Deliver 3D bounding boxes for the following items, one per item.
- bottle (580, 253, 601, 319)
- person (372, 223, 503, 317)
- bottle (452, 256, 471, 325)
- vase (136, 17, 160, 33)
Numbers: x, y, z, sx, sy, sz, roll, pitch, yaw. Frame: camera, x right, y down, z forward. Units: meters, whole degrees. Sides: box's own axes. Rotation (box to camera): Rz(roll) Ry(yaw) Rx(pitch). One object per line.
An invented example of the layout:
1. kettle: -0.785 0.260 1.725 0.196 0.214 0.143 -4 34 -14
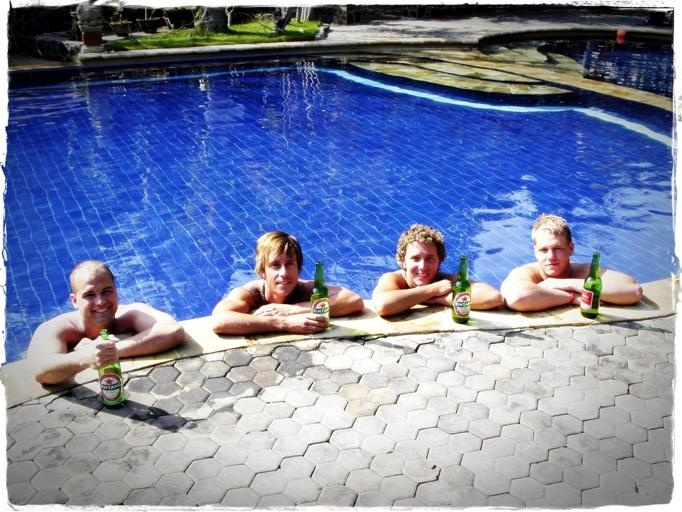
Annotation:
1. bottle: 1.936 0.212 3.931 0.140 0.519 0.218 5 19 24
2. person: 0.665 0.168 4.330 1.502 0.572 0.845 -3 3 -14
3. bottle: 0.922 0.243 3.888 0.140 0.534 0.201 0 17 11
4. vase: -6.322 -7.588 16.819 0.781 0.267 0.763 -9 33 -14
